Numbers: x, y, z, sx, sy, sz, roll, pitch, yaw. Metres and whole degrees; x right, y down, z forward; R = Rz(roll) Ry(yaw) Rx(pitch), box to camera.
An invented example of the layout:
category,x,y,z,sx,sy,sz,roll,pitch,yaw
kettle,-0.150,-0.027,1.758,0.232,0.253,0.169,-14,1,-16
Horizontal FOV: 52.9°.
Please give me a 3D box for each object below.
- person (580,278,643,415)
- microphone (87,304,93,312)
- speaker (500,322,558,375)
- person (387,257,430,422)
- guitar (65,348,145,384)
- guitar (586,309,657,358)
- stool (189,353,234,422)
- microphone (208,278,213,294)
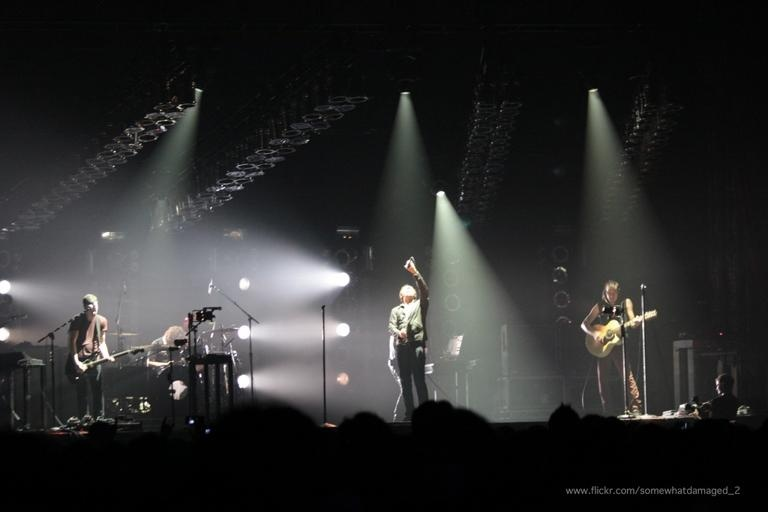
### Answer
category,x,y,z,sx,sy,sz,roll,pitch,yaw
person,4.535,1.830,15.204,1.183,2.470,0.795,-1,11,22
microphone,-5.480,0.975,14.386,0.121,0.107,0.027,-2,17,-12
speaker,3.125,2.034,16.818,0.974,1.110,0.806,-1,1,-21
person,0.509,1.559,14.256,0.844,2.285,0.645,-3,-1,29
guitar,-5.152,2.059,14.806,1.048,0.571,1.527,0,0,16
guitar,4.408,1.571,15.100,0.266,0.636,1.633,0,-23,-36
stool,-3.093,2.352,13.734,0.922,1.572,0.800,0,-1,-27
microphone,-4.496,0.786,20.133,0.134,0.376,0.314,0,0,-16
